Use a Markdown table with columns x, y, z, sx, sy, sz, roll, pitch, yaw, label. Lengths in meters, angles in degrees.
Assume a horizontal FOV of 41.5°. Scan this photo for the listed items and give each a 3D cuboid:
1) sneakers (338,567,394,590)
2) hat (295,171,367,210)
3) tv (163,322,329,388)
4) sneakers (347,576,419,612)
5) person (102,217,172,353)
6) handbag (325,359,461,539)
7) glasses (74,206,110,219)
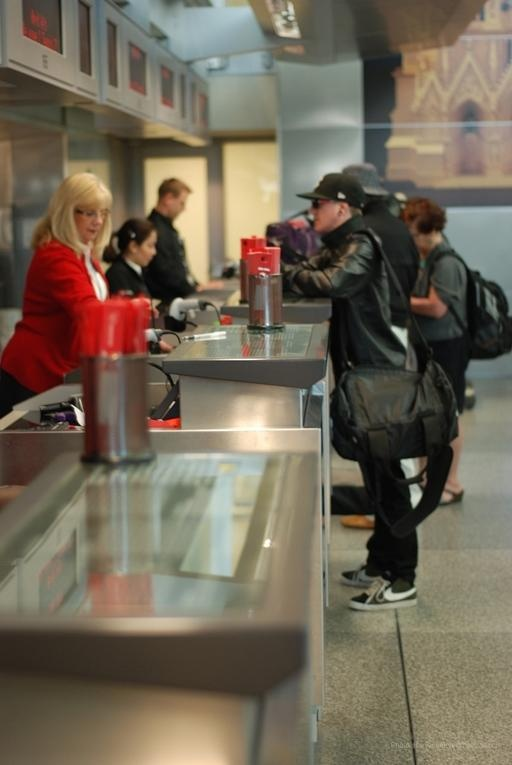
| x | y | z | sx | sy | sz | roll | pitch | yaw | label |
| --- | --- | --- | --- | --- | --- | --- | --- | --- | --- |
| 0.416 | 0.740 | 2.578 | 0.199 | 0.073 | 0.072 | 2 | 4 | 34 | sneakers |
| 0.344 | -0.802 | 2.856 | 0.220 | 0.109 | 0.134 | 1 | 13 | -2 | hat |
| -0.010 | -0.073 | 1.816 | 0.387 | 0.118 | 0.558 | 1 | 7 | 4 | tv |
| 0.462 | 0.773 | 2.471 | 0.265 | 0.096 | 0.093 | 0 | -1 | -8 | sneakers |
| -0.649 | -0.347 | 3.784 | 0.369 | 1.065 | 0.316 | -4 | 2 | -6 | person |
| 0.430 | 0.206 | 2.132 | 0.438 | 0.474 | 0.383 | -1 | 4 | 25 | handbag |
| -0.550 | -0.582 | 2.308 | 0.059 | 0.042 | 0.174 | 2 | 7 | 14 | glasses |
